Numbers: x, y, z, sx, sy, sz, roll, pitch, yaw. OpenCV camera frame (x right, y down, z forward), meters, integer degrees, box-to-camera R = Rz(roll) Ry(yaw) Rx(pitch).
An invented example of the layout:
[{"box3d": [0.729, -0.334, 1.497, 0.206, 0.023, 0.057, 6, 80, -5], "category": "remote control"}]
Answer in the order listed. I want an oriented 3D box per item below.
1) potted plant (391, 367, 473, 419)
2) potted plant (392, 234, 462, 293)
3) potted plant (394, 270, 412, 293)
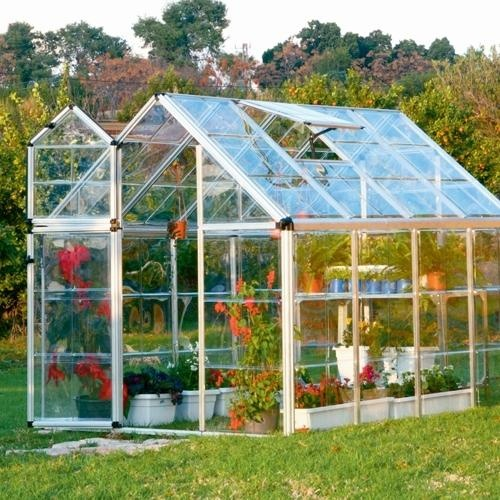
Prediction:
[{"box3d": [2.462, 1.773, 14.652, 0.642, 0.358, 0.713, -3, 1, -20], "category": "potted plant"}, {"box3d": [2.373, 0.109, 14.800, 0.720, 0.865, 0.765, 2, -7, -31], "category": "potted plant"}, {"box3d": [2.013, 0.416, 14.359, 0.201, 0.300, 0.230, 0, -1, 7], "category": "potted plant"}]
